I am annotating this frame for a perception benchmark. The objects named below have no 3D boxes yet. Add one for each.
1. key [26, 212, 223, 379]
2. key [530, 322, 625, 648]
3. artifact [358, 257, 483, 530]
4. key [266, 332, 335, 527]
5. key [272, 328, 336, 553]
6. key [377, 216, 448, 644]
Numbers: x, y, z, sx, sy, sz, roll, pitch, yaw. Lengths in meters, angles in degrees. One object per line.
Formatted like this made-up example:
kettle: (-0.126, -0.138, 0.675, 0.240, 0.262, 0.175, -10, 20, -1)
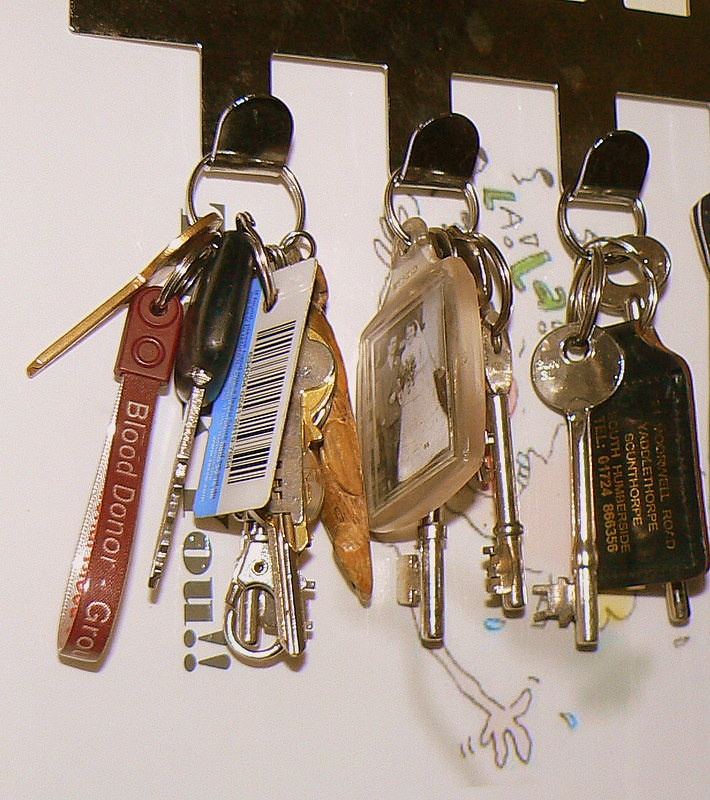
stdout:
key: (-0.172, -0.072, 0.926, 0.011, 0.136, 0.044, 43, -11, 15)
key: (0.182, 0.073, 0.984, 0.071, 0.256, 0.021, -2, -15, 8)
artifact: (0.049, -0.001, 0.910, 0.029, 0.180, 0.130, 15, -39, -28)
key: (-0.038, 0.027, 0.887, 0.063, 0.118, 0.024, 4, -4, -23)
key: (-0.042, 0.026, 0.898, 0.052, 0.186, 0.013, 1, -7, 16)
key: (0.049, 0.022, 0.950, 0.047, 0.304, 0.039, 8, -15, -19)
